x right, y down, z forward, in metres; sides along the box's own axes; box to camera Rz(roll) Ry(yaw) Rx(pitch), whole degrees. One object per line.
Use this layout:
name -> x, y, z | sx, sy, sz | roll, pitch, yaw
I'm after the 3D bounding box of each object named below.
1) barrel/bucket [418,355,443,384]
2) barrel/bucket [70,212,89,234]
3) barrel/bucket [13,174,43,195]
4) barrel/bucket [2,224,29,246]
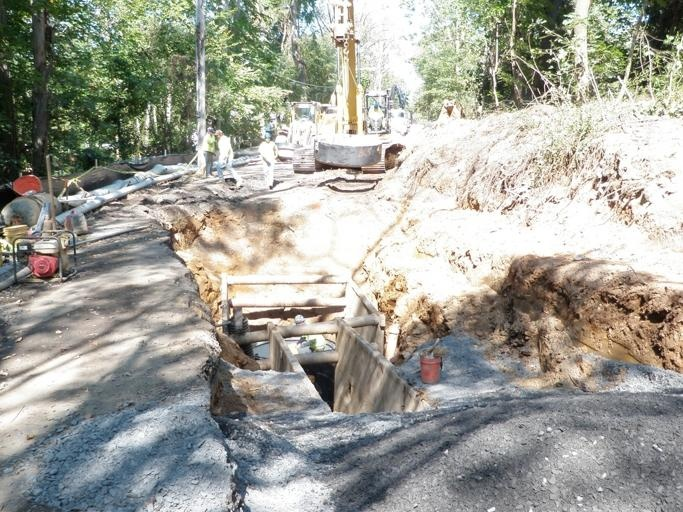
barrel/bucket -> 1.303, 1.595, 7.276 | 0.322, 0.396, 0.346 | 0, -2, 0
barrel/bucket -> -5.891, -0.774, 11.060 | 0.284, 0.451, 0.677 | -5, 8, -29
barrel/bucket -> -6.194, -1.439, 9.671 | 0.436, 0.382, 0.467 | -1, 7, 0
barrel/bucket -> -5.481, -0.393, 8.253 | 0.340, 0.324, 0.344 | 0, 7, 0
